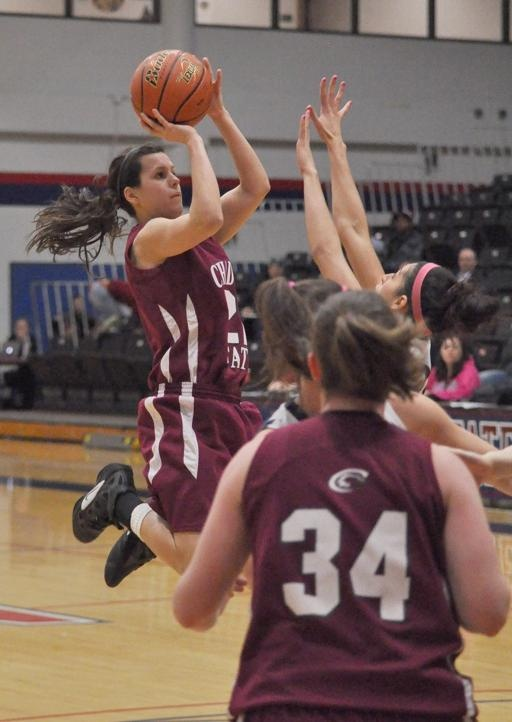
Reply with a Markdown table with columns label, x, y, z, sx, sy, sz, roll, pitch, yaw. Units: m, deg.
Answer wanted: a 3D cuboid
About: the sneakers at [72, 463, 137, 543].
| label | x | y | z | sx | sy | sz | roll | pitch | yaw |
| --- | --- | --- | --- | --- | --- | --- | --- | --- | --- |
| sneakers | -0.438 | 0.399 | 2.488 | 0.173 | 0.109 | 0.335 | -4 | -13 | -6 |
